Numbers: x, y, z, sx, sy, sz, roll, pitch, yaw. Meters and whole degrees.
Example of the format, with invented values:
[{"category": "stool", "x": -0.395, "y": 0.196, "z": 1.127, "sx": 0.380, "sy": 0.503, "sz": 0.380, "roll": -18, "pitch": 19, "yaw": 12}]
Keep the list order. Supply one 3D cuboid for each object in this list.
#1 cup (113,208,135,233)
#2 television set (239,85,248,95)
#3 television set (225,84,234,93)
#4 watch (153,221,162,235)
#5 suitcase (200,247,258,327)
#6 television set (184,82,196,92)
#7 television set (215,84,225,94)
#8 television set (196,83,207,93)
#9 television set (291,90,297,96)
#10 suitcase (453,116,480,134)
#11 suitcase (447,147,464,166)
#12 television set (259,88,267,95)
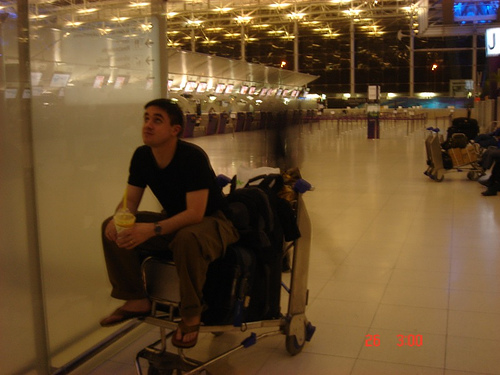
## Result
[{"category": "cup", "x": -0.565, "y": 0.150, "z": 1.790, "sx": 0.069, "sy": 0.079, "sz": 0.070, "roll": 16, "pitch": 19, "yaw": -6}, {"category": "television set", "x": -0.478, "y": -7.181, "z": 29.070, "sx": 0.132, "sy": 0.556, "sz": 0.562, "roll": 11, "pitch": 9, "yaw": 28}, {"category": "television set", "x": -1.465, "y": -6.783, "z": 27.083, "sx": 0.085, "sy": 0.667, "sz": 0.673, "roll": 8, "pitch": 20, "yaw": 29}, {"category": "watch", "x": -0.429, "y": 0.176, "z": 1.815, "sx": 0.030, "sy": 0.054, "sz": 0.047, "roll": 3, "pitch": -6, "yaw": -19}, {"category": "suitcase", "x": -0.113, "y": 0.487, "z": 1.994, "sx": 0.237, "sy": 0.376, "sz": 0.201, "roll": 6, "pitch": -9, "yaw": 31}, {"category": "television set", "x": -3.511, "y": -5.849, "z": 23.014, "sx": 0.132, "sy": 0.555, "sz": 0.573, "roll": 17, "pitch": 12, "yaw": 30}, {"category": "television set", "x": -1.978, "y": -6.488, "z": 26.026, "sx": 0.129, "sy": 0.550, "sz": 0.569, "roll": 15, "pitch": 15, "yaw": 31}, {"category": "television set", "x": -2.950, "y": -6.072, "z": 24.010, "sx": 0.091, "sy": 0.446, "sz": 0.713, "roll": 3, "pitch": 17, "yaw": 21}, {"category": "television set", "x": 4.140, "y": -9.107, "z": 38.154, "sx": 0.167, "sy": 0.555, "sz": 1.536, "roll": 3, "pitch": 11, "yaw": 23}, {"category": "suitcase", "x": 5.813, "y": -1.690, "z": 10.824, "sx": 0.535, "sy": 0.352, "sz": 0.553, "roll": 2, "pitch": 5, "yaw": 27}, {"category": "suitcase", "x": 4.042, "y": -0.624, "z": 7.875, "sx": 0.225, "sy": 0.419, "sz": 0.222, "roll": -9, "pitch": 18, "yaw": 34}, {"category": "television set", "x": 1.010, "y": -7.682, "z": 31.712, "sx": 0.187, "sy": 0.501, "sz": 0.579, "roll": 8, "pitch": 13, "yaw": 40}]
